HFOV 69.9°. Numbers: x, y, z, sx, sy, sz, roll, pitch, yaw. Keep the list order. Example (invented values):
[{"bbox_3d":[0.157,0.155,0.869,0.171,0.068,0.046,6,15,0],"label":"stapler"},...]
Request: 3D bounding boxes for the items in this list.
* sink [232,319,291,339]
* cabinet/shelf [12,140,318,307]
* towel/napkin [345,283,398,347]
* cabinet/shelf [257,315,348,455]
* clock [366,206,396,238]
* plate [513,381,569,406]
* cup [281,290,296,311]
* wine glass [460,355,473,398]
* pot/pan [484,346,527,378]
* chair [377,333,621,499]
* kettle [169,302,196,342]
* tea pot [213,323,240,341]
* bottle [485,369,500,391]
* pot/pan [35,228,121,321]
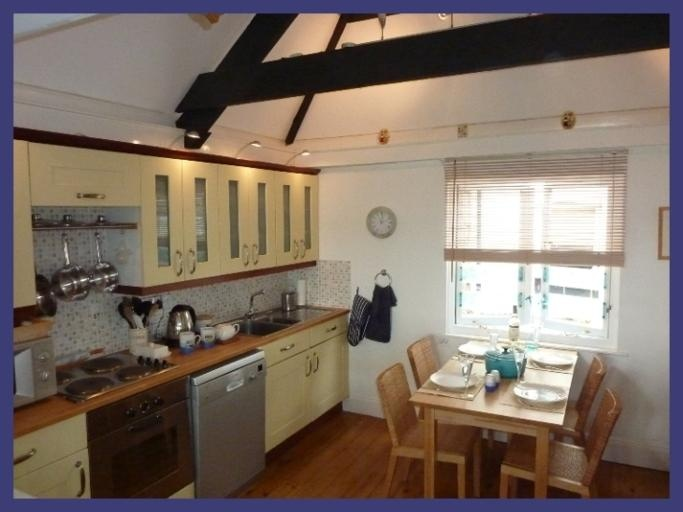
[{"bbox_3d":[-0.660,0.598,4.151,0.214,0.149,0.224,5,6,28],"label":"sink"},{"bbox_3d":[-1.050,-0.258,3.466,0.402,0.899,2.528,9,11,31],"label":"cabinet/shelf"},{"bbox_3d":[0.229,0.494,4.289,0.506,0.512,0.157,0,-2,22],"label":"towel/napkin"},{"bbox_3d":[-0.339,1.046,3.979,0.365,0.780,0.948,1,7,27],"label":"cabinet/shelf"},{"bbox_3d":[0.371,-0.304,4.462,0.290,0.294,0.064,10,12,35],"label":"clock"},{"bbox_3d":[1.212,0.834,2.977,0.302,0.055,0.302,6,9,17],"label":"plate"},{"bbox_3d":[-0.493,0.426,4.634,0.166,0.165,0.144,1,4,19],"label":"cup"},{"bbox_3d":[0.824,0.722,3.170,0.087,0.212,0.393,5,9,14],"label":"wine glass"},{"bbox_3d":[1.106,0.712,3.268,0.228,0.125,0.207,-1,0,41],"label":"pot/pan"},{"bbox_3d":[0.919,0.989,3.143,1.177,0.719,1.130,4,10,25],"label":"chair"},{"bbox_3d":[-1.120,0.457,3.414,0.180,0.232,0.235,0,-4,27],"label":"kettle"},{"bbox_3d":[-0.839,0.551,3.611,0.111,0.080,0.141,-3,-4,23],"label":"tea pot"},{"bbox_3d":[0.965,0.798,3.131,0.120,0.114,0.073,0,1,-29],"label":"bottle"},{"bbox_3d":[-1.511,0.133,2.874,0.080,0.452,0.323,0,0,22],"label":"pot/pan"}]
